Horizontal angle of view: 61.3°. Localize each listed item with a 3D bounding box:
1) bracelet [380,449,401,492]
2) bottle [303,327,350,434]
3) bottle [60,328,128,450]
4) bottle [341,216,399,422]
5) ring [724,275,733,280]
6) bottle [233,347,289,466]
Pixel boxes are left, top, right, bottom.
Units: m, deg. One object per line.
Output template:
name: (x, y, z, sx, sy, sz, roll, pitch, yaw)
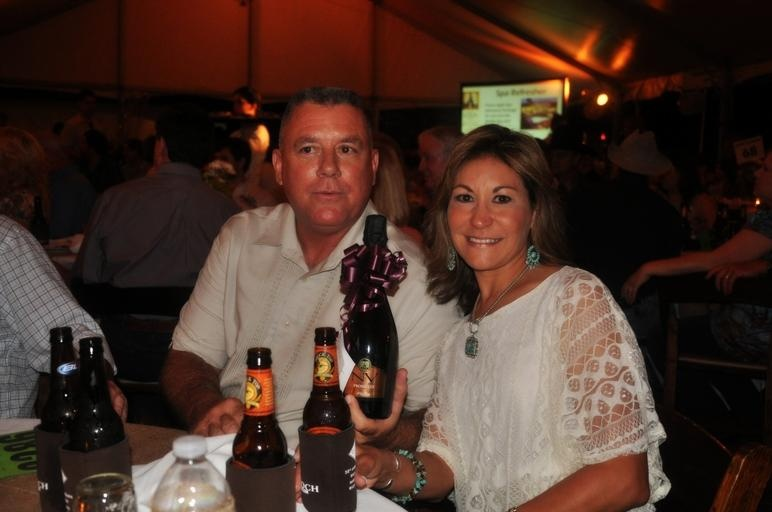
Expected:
bracelet: (0.031, 0.816, 2.468, 0.052, 0.129, 0.096, 17, -12, -29)
bottle: (-0.187, 0.386, 2.117, 0.157, 0.340, 0.218, 1, 4, -4)
bottle: (-0.932, 0.433, 2.078, 0.180, 0.344, 0.098, -1, 5, -33)
bottle: (-0.059, 0.218, 2.564, 0.218, 0.753, 0.386, 2, 4, 2)
ring: (2.264, 0.141, 4.286, 0.034, 0.009, 0.033, -6, 19, 2)
bottle: (-0.380, 0.457, 2.005, 0.177, 0.375, 0.164, 2, 4, 0)
